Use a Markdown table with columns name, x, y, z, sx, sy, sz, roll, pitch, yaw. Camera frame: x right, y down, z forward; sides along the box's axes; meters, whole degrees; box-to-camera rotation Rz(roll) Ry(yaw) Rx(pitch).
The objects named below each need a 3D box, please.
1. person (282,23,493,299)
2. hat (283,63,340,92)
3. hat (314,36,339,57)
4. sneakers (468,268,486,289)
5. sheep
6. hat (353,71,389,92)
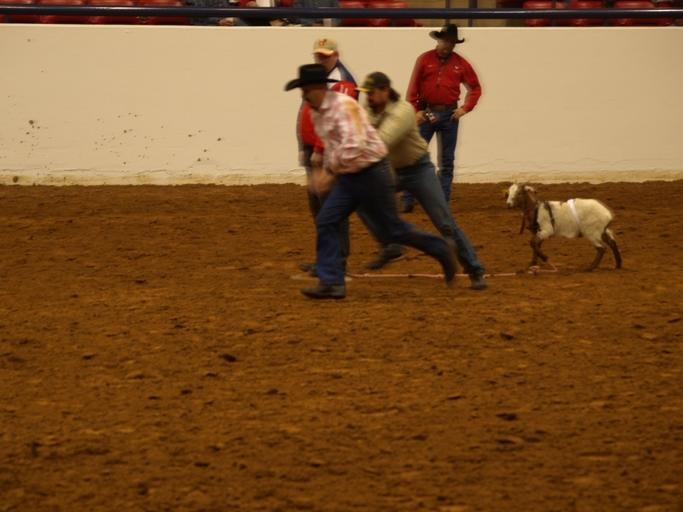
| name | x | y | z | sx | sy | sz | roll | pitch | yaw |
| --- | --- | --- | --- | --- | --- | --- | --- | --- | --- |
| person | 0.090 | -0.871 | 7.342 | 1.032 | 2.244 | 1.377 | 2 | 20 | 3 |
| hat | -0.160 | -1.485 | 6.484 | 0.502 | 0.143 | 0.359 | -13 | 10 | -15 |
| hat | -0.142 | -1.981 | 7.442 | 0.222 | 0.107 | 0.269 | 2 | 7 | 20 |
| sneakers | 1.271 | 0.204 | 7.210 | 0.172 | 0.196 | 0.204 | 3 | 18 | 8 |
| sheep | 2.156 | -0.259 | 7.827 | 1.460 | 0.674 | 0.334 | 3 | -5 | -22 |
| hat | 0.253 | -1.516 | 6.799 | 0.350 | 0.136 | 0.205 | 2 | 12 | -1 |
